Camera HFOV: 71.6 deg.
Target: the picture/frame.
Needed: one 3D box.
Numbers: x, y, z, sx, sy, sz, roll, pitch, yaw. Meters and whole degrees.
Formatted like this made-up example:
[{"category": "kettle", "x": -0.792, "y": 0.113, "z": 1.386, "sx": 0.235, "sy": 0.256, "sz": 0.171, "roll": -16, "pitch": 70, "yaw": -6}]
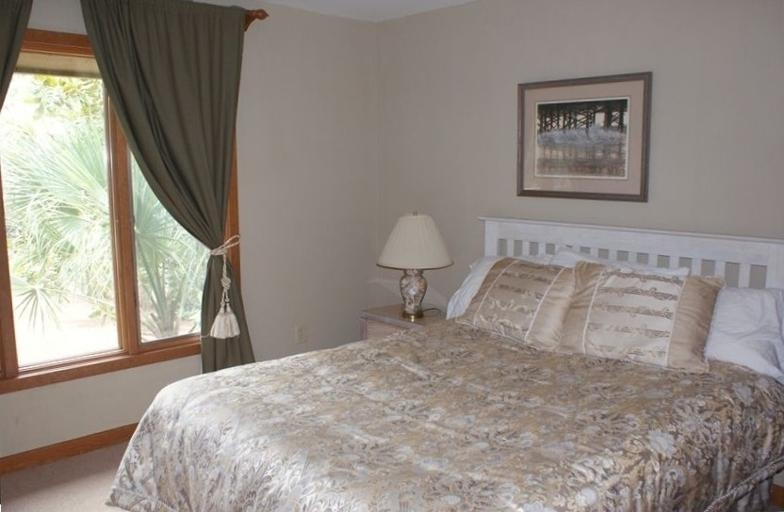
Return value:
[{"category": "picture/frame", "x": 1.376, "y": -0.830, "z": 3.768, "sx": 0.970, "sy": 0.886, "sz": 0.077, "roll": 2, "pitch": 7, "yaw": 35}]
